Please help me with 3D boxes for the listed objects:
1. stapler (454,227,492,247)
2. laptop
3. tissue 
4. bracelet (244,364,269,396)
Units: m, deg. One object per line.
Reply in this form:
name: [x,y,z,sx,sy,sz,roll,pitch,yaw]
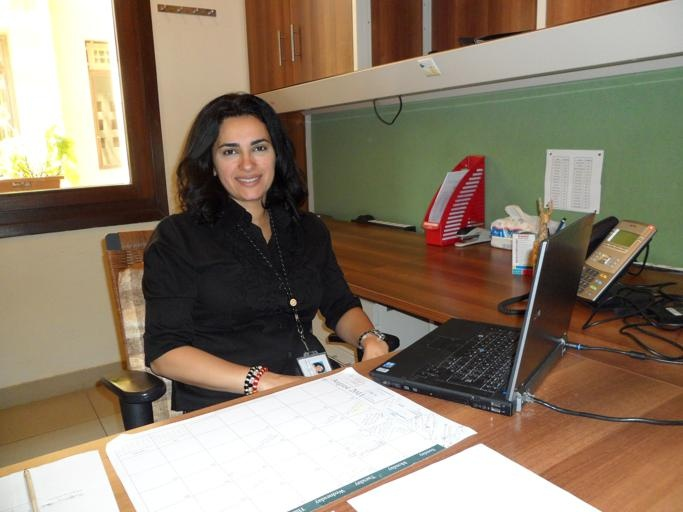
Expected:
stapler: [0.617,-0.091,2.232,0.213,0.072,0.075,-10,9,-39]
laptop: [0.318,0.102,1.188,0.462,0.373,0.537,7,18,34]
tissue : [0.799,-0.117,2.050,0.240,0.074,0.177,-3,12,-1]
bracelet: [-0.216,0.319,1.256,0.033,0.054,0.069,17,11,-5]
